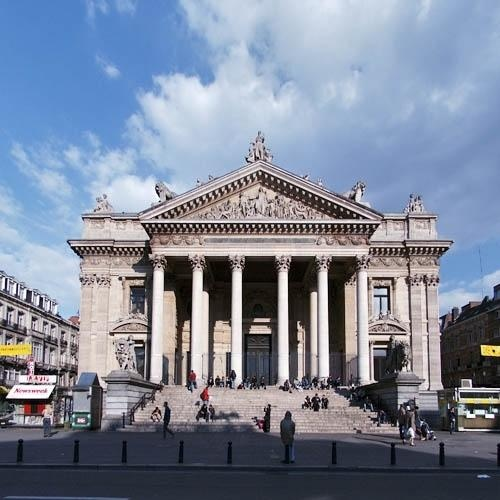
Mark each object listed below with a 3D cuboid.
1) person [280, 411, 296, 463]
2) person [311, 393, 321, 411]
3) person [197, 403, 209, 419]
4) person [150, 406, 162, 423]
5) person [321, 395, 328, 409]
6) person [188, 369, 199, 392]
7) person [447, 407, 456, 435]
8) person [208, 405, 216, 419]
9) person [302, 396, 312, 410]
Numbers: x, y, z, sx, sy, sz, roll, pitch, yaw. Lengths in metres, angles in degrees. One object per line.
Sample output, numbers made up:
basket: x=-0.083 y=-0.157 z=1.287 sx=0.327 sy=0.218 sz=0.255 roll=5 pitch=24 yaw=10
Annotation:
person: x=1.115 y=5.490 z=16.938 sx=0.381 sy=1.448 sz=1.033 roll=-1 pitch=-16 yaw=4
person: x=3.865 y=9.007 z=33.914 sx=0.467 sy=0.982 sz=1.132 roll=-1 pitch=-17 yaw=6
person: x=-2.588 y=9.063 z=32.275 sx=0.671 sy=0.964 sz=0.961 roll=0 pitch=-16 yaw=2
person: x=-5.230 y=9.242 z=32.182 sx=0.560 sy=1.013 sz=0.297 roll=4 pitch=-6 yaw=-4
person: x=4.447 y=9.103 z=34.536 sx=0.394 sy=0.790 sz=0.897 roll=-2 pitch=-17 yaw=6
person: x=-3.774 y=8.766 z=38.739 sx=0.648 sy=1.758 sz=0.566 roll=7 pitch=-37 yaw=-10
person: x=12.272 y=10.301 z=35.124 sx=0.484 sy=1.565 sz=2.572 roll=-5 pitch=-18 yaw=18
person: x=-2.107 y=9.073 z=32.149 sx=0.311 sy=0.866 sz=0.773 roll=1 pitch=-16 yaw=-4
person: x=3.398 y=9.100 z=34.447 sx=0.541 sy=1.172 sz=0.441 roll=5 pitch=-7 yaw=-21
